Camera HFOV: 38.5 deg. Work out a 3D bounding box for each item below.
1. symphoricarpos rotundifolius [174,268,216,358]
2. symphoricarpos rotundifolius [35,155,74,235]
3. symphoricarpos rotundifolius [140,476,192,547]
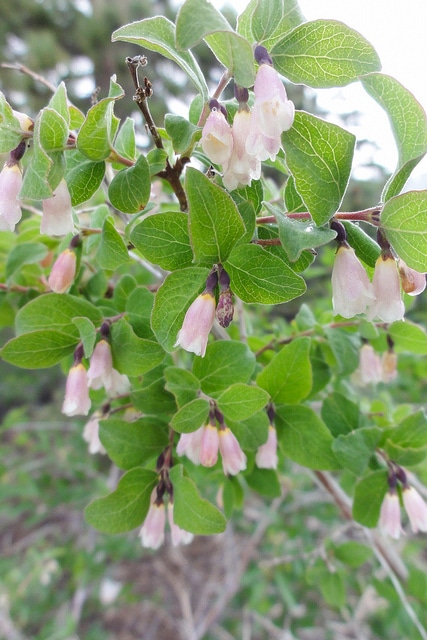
[{"bbox_3d":[-0.023,-0.009,1.274,0.067,0.166,0.130,22,27,-3],"label":"symphoricarpos rotundifolius"},{"bbox_3d":[-0.331,-0.248,1.327,0.077,0.120,0.170,15,27,-17],"label":"symphoricarpos rotundifolius"},{"bbox_3d":[-0.114,0.447,1.412,0.107,0.149,0.079,2,-9,-12],"label":"symphoricarpos rotundifolius"}]
